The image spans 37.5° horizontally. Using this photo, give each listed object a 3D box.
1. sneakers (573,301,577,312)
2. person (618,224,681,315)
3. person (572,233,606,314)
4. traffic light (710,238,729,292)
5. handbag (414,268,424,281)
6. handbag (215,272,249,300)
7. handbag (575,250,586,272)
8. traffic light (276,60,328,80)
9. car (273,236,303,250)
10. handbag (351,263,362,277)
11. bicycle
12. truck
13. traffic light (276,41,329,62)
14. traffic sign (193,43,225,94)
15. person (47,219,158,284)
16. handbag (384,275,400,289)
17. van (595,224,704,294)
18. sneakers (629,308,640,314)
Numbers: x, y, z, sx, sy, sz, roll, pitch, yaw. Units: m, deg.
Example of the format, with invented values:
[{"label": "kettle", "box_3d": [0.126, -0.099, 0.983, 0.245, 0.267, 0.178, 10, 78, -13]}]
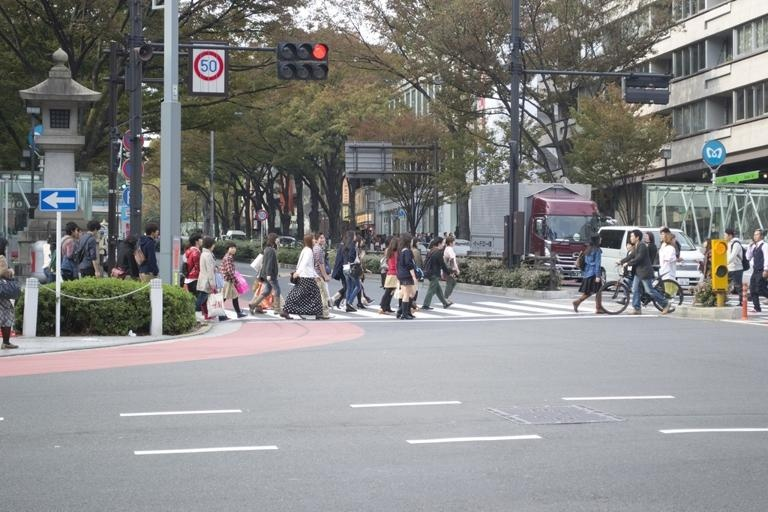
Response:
[{"label": "sneakers", "box_3d": [5.025, 1.325, 29.710, 0.108, 0.284, 0.082, -2, 2, 0]}, {"label": "person", "box_3d": [6.654, 0.405, 29.190, 1.323, 2.166, 0.761, 0, -1, -34]}, {"label": "person", "box_3d": [5.403, 0.488, 29.703, 0.747, 2.017, 1.279, -1, -1, 9]}, {"label": "traffic light", "box_3d": [8.300, 0.236, 28.056, 0.345, 1.259, 0.527, -1, -1, 12]}, {"label": "handbag", "box_3d": [0.924, 0.502, 29.485, 0.201, 0.352, 0.340, -2, 28, 3]}, {"label": "handbag", "box_3d": [-3.759, 0.683, 28.229, 0.765, 0.579, 0.545, 1, -5, -17]}, {"label": "handbag", "box_3d": [5.234, 0.147, 29.778, 0.332, 0.493, 0.490, 3, 2, 11]}, {"label": "traffic light", "box_3d": [-1.881, -4.265, 26.091, 1.110, 0.412, 0.362, -1, -1, -4]}, {"label": "car", "box_3d": [-4.617, -0.599, 54.827, 1.952, 0.745, 0.915, -4, 0, 33]}, {"label": "handbag", "box_3d": [-0.726, 0.373, 29.826, 0.311, 0.377, 0.248, -6, 10, -22]}, {"label": "bicycle", "box_3d": [6.826, 0.822, 29.960, 2.271, 1.500, 1.185, 0, 3, -6]}, {"label": "truck", "box_3d": [5.171, -1.113, 41.776, 2.350, 3.604, 6.595, 0, -2, -19]}, {"label": "traffic light", "box_3d": [-1.880, -4.682, 26.070, 1.144, 0.416, 0.308, -1, -1, -5]}, {"label": "traffic sign", "box_3d": [-4.123, -4.338, 26.555, 1.041, 1.552, 0.144, -1, 1, -6]}, {"label": "person", "box_3d": [-6.691, -0.127, 27.266, 2.486, 1.466, 0.944, -2, -1, 29]}, {"label": "handbag", "box_3d": [0.207, 0.666, 29.374, 0.455, 0.479, 0.279, 3, -9, -7]}, {"label": "van", "box_3d": [8.419, 0.260, 36.490, 2.167, 1.929, 3.474, 1, -3, -22]}, {"label": "sneakers", "box_3d": [6.442, 1.420, 29.173, 0.298, 0.141, 0.106, 7, 5, 27]}]
